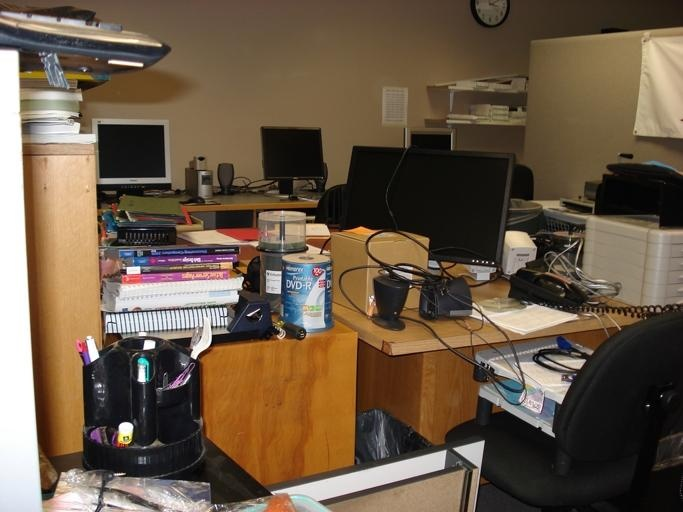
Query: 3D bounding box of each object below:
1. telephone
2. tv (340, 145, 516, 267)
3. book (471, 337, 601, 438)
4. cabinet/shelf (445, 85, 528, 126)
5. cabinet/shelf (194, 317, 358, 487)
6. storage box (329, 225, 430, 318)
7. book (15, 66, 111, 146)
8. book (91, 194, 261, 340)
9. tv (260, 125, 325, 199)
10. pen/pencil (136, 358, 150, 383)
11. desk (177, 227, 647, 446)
[{"bbox_3d":[0.681,0.095,1.789,0.192,0.062,0.142,13,14,39],"label":"telephone"},{"bbox_3d":[0.252,-0.215,2.051,0.566,0.327,0.094,0,16,-36],"label":"tv"},{"bbox_3d":[0.541,0.327,1.533,0.309,0.139,0.297,-6,15,-17],"label":"book"},{"bbox_3d":[1.621,-1.596,5.938,0.986,0.245,0.834,-12,30,-21],"label":"cabinet/shelf"},{"bbox_3d":[-0.098,0.446,1.529,0.474,0.422,0.164,7,3,-36],"label":"cabinet/shelf"},{"bbox_3d":[0.102,0.033,1.769,0.295,0.252,0.268,2,8,-9],"label":"storage box"},{"bbox_3d":[-0.535,-0.297,1.130,0.187,0.126,0.060,1,12,-7],"label":"book"},{"bbox_3d":[-0.403,0.080,1.398,0.376,0.221,0.220,-6,13,-21],"label":"book"},{"bbox_3d":[-0.470,-0.801,4.758,0.612,0.563,0.300,-8,13,-37],"label":"tv"},{"bbox_3d":[-0.292,0.168,0.818,0.018,0.034,0.016,-5,13,-16],"label":"pen/pencil"},{"bbox_3d":[0.293,0.308,1.819,0.942,0.525,0.909,-4,13,-25],"label":"desk"}]
